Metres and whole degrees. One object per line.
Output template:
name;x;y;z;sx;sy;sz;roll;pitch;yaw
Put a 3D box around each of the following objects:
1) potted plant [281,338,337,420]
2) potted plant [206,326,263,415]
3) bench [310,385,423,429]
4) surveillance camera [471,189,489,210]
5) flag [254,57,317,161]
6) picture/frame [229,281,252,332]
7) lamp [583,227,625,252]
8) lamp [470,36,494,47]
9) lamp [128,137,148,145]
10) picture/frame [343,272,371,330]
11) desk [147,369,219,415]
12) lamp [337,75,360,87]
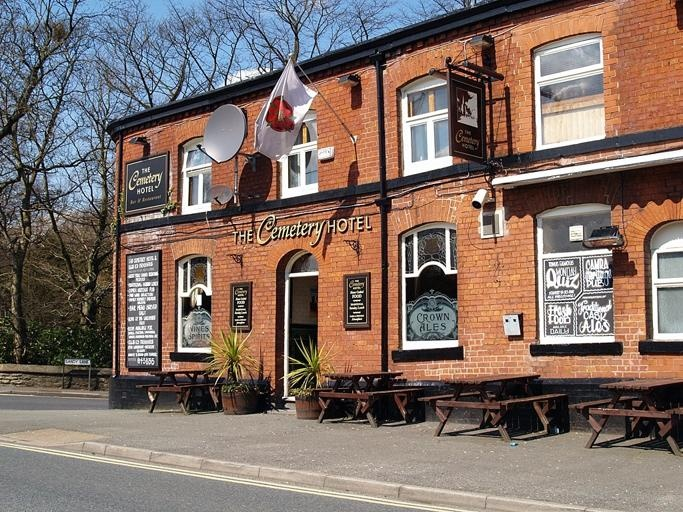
potted plant;-0.698;2.753;18.797;1.042;1.477;0.908;-3;3;37
potted plant;-2.805;2.889;20.340;1.512;2.123;1.676;-6;-5;43
bench;0.537;3.176;17.871;2.100;0.797;1.391;0;1;43
surveillance camera;2.830;-1.175;17.210;0.308;0.423;0.376;0;1;42
flag;-1.329;-3.367;19.347;1.383;2.218;0.412;0;1;19
picture/frame;-2.483;1.269;20.807;0.723;1.230;0.199;0;1;42
lamp;5.012;-0.313;15.825;0.433;0.425;0.574;16;-18;-32
lamp;2.908;-4.432;17.327;0.311;0.216;0.302;0;-2;-44
lamp;-5.692;-3.254;23.449;0.329;0.290;0.660;-1;1;-42
picture/frame;0.349;1.013;18.872;0.614;1.218;0.077;-1;6;-19
desk;-3.852;3.367;20.867;1.799;0.968;1.500;-4;-5;18
lamp;0.231;-4.032;19.243;0.303;0.152;0.309;-6;-11;43
